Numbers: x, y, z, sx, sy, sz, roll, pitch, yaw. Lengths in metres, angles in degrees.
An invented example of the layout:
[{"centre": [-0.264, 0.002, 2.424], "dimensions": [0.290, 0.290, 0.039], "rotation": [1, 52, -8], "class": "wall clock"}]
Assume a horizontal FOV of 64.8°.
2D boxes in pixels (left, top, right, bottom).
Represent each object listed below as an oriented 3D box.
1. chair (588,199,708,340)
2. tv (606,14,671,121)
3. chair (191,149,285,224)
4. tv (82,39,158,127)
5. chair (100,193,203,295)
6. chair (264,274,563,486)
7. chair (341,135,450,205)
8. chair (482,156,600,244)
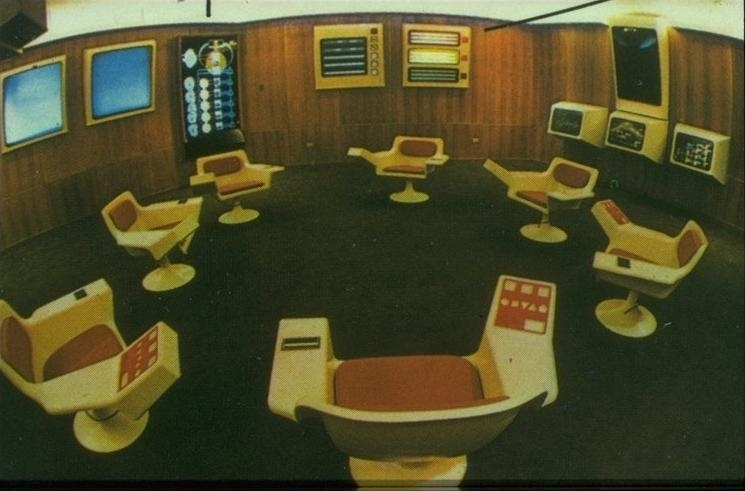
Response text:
[{"centre": [2.795, 0.252, 6.324], "dimensions": [1.246, 1.079, 1.517], "rotation": [2, 28, 0], "class": "chair"}, {"centre": [3.724, -2.464, 8.129], "dimensions": [0.255, 1.328, 0.964], "rotation": [-17, 29, -29], "class": "tv"}, {"centre": [-1.958, -0.795, 8.335], "dimensions": [1.065, 0.723, 0.587], "rotation": [-19, 39, -34], "class": "chair"}, {"centre": [-3.461, -2.210, 7.920], "dimensions": [0.174, 0.962, 1.254], "rotation": [17, 24, 27], "class": "tv"}, {"centre": [-2.529, -0.051, 6.877], "dimensions": [0.868, 0.906, 1.079], "rotation": [3, 28, 14], "class": "chair"}, {"centre": [0.401, 1.262, 4.879], "dimensions": [2.433, 1.465, 1.127], "rotation": [-5, 25, -10], "class": "chair"}, {"centre": [0.523, -1.186, 9.059], "dimensions": [1.330, 0.815, 0.894], "rotation": [7, 26, 17], "class": "chair"}, {"centre": [2.322, -0.626, 7.824], "dimensions": [0.799, 0.956, 1.336], "rotation": [-13, 27, -24], "class": "chair"}]
